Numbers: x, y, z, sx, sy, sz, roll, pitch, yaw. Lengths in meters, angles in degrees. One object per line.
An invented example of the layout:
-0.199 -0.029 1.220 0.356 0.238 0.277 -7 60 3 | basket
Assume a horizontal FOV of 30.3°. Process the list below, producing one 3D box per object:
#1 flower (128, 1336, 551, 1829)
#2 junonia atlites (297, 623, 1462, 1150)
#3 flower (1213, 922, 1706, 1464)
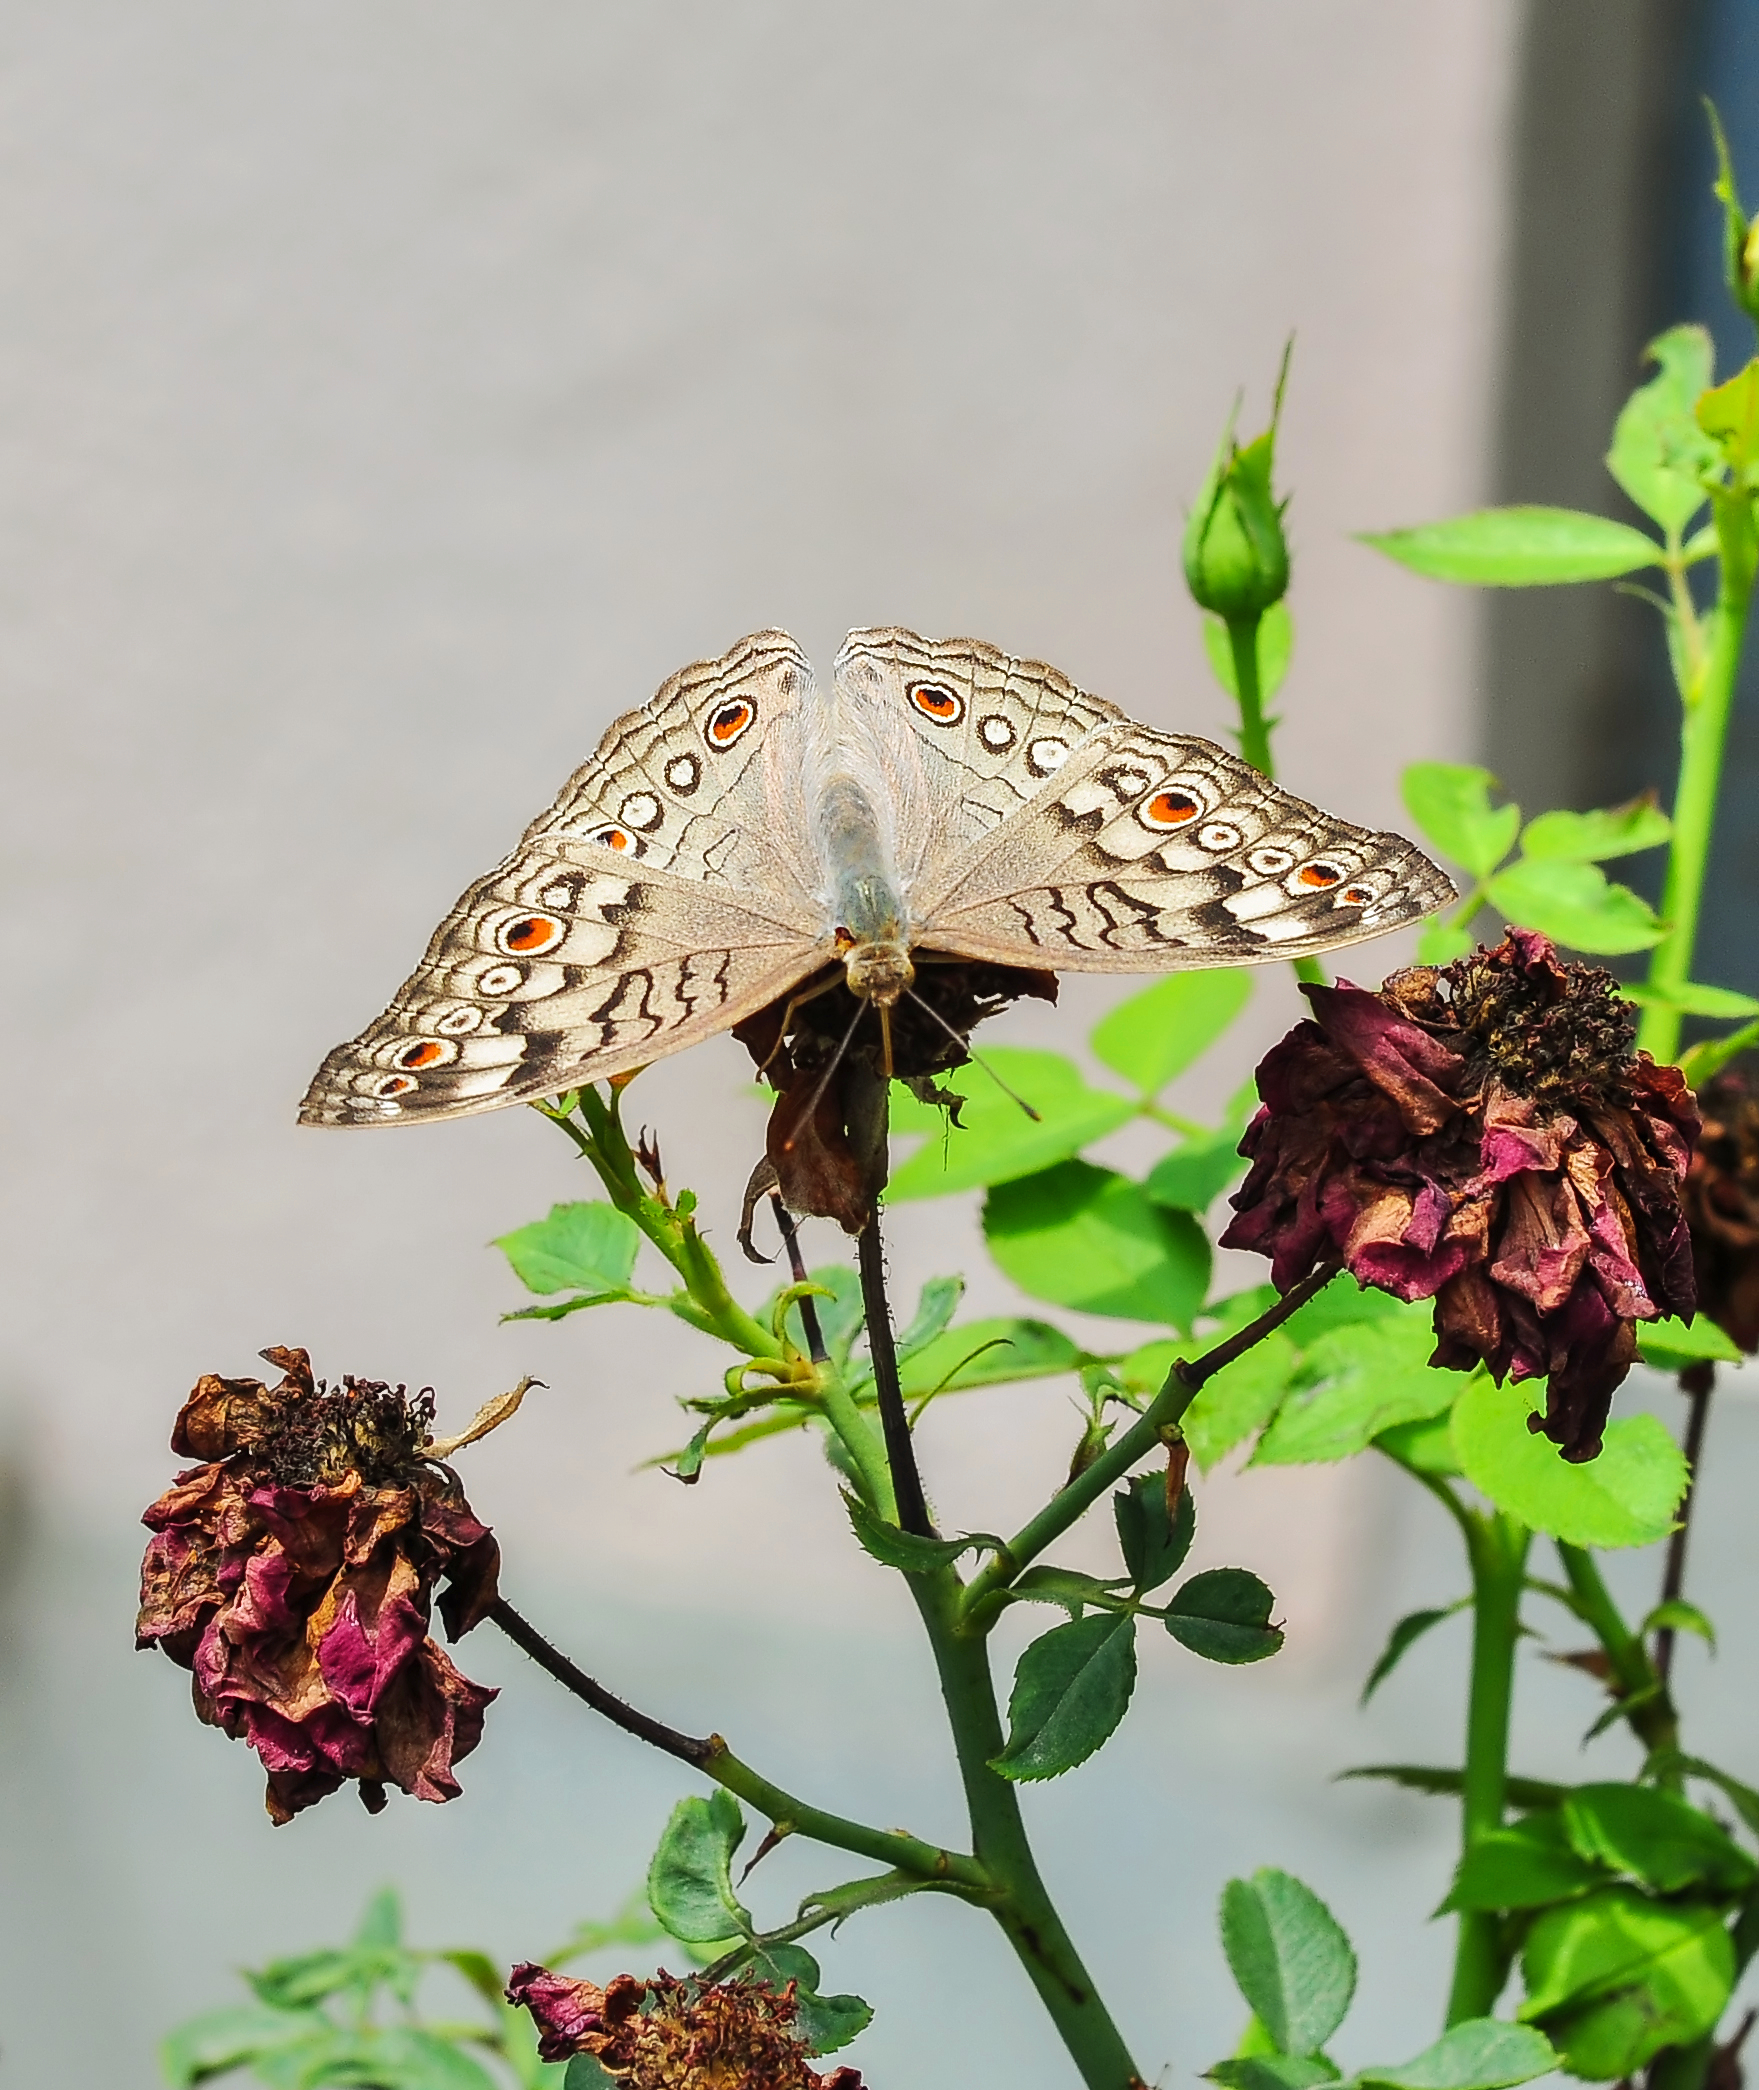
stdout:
-0.193 0.178 1.104 0.121 0.162 0.061 -13 -27 -10 | flower
-0.033 -0.084 1.166 0.392 0.225 0.109 -11 -27 -8 | junonia atlites
0.199 0.041 1.127 0.193 0.125 0.175 4 -5 -25 | flower
